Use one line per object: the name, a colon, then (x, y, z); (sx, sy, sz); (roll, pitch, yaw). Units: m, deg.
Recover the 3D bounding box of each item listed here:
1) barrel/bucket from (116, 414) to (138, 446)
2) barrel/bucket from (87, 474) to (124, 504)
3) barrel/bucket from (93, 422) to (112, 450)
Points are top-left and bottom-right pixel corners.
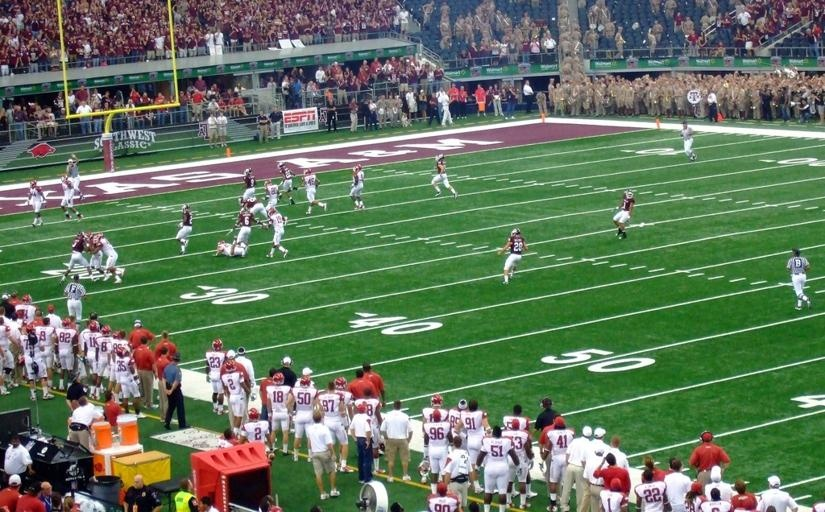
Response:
barrel/bucket: (-7.144, 4.380, 39.880); (0.710, 0.944, 0.651); (0, 3, 0)
barrel/bucket: (-7.414, 5.733, 38.665); (0.617, 0.934, 0.828); (-10, -7, 40)
barrel/bucket: (-7.638, 4.493, 39.709); (0.612, 0.608, 0.596); (-1, 5, 0)
